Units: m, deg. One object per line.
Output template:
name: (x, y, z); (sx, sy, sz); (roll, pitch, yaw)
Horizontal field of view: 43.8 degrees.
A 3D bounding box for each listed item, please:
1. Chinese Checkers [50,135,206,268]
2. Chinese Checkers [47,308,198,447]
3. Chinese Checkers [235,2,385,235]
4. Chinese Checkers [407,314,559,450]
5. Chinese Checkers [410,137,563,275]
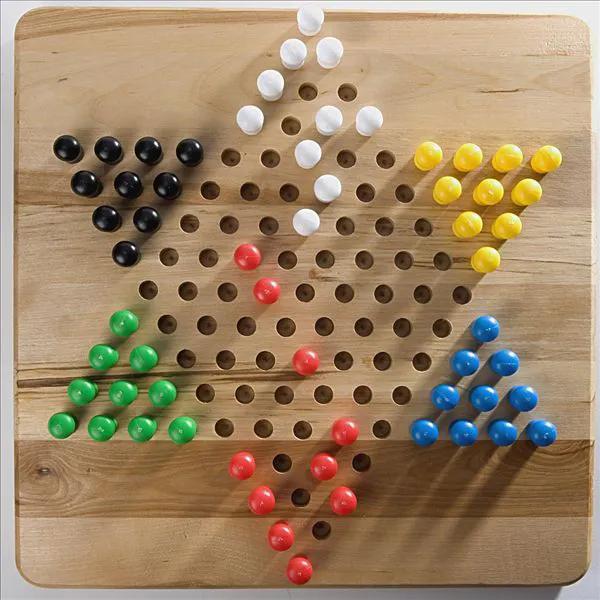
Chinese Checkers: (-0.299, -0.163, 1.318); (0.357, 0.213, 0.080); (0, 3, -3)
Chinese Checkers: (-0.311, 0.122, 1.308); (0.346, 0.213, 0.099); (0, 1, 5)
Chinese Checkers: (0.013, -0.316, 1.321); (0.256, 0.404, 0.125); (9, 12, 6)
Chinese Checkers: (0.330, 0.134, 1.319); (0.338, 0.218, 0.092); (3, 0, 5)
Chinese Checkers: (0.348, -0.157, 1.298); (0.334, 0.220, 0.077); (-5, 4, -2)
